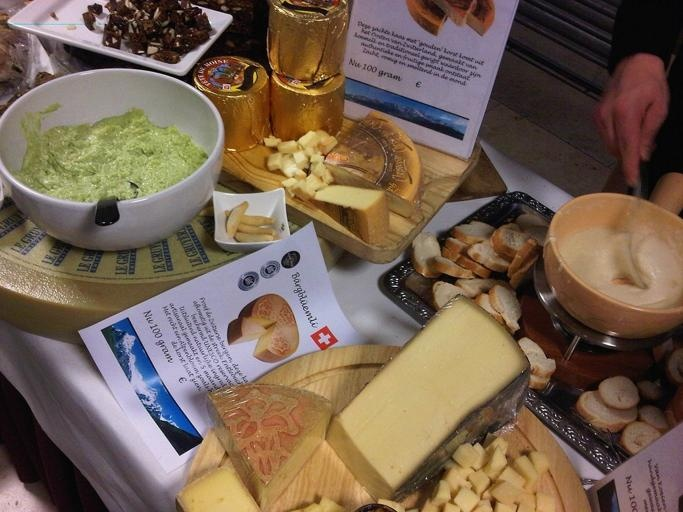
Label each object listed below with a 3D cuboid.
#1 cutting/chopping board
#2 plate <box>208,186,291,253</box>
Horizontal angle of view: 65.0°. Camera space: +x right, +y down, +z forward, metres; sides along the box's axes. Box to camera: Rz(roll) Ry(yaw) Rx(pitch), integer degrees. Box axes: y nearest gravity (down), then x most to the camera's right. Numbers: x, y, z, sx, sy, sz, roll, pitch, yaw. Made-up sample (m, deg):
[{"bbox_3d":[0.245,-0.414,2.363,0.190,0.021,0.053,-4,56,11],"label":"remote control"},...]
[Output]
[{"bbox_3d":[0.097,-0.134,0.940,0.305,0.032,0.286,36,58,15],"label":"cutting/chopping board"},{"bbox_3d":[-0.153,-0.060,0.883,0.113,0.042,0.113,-14,58,-24],"label":"plate"}]
